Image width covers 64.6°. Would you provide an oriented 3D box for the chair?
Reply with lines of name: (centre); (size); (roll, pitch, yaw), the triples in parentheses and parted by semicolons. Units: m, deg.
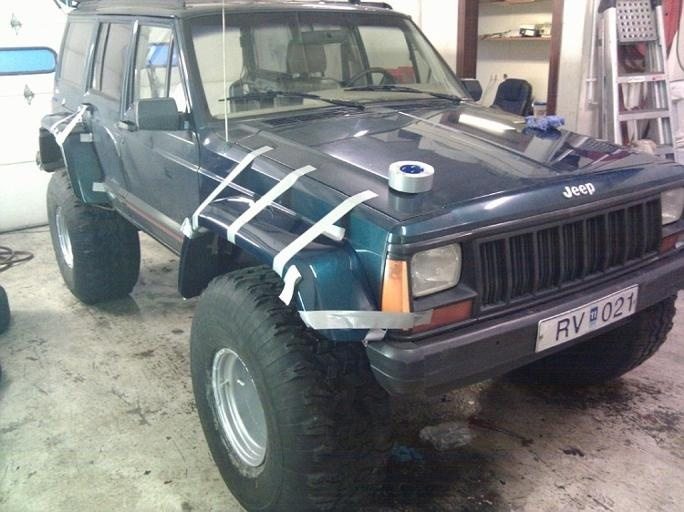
chair: (-0.193, -1.035, 3.181); (0.460, 0.383, 0.365); (-9, 20, -29)
